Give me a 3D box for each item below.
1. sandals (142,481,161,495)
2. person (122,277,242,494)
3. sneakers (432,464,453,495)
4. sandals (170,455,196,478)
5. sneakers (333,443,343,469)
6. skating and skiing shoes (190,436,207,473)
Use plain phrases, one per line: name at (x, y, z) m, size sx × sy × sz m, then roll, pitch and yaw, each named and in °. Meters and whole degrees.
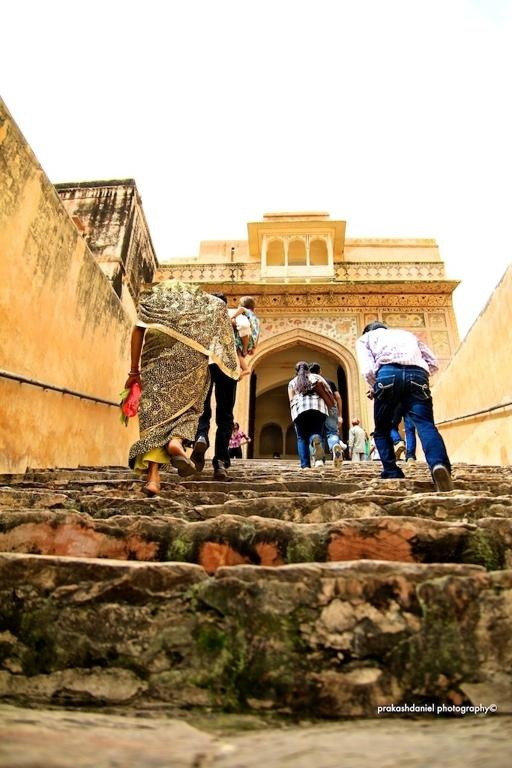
sandals at (-0.468, 0.476, 1.918) m, size 0.038 × 0.041 × 0.099 m, roll 11°, pitch -31°, yaw 8°
person at (-0.445, -0.007, 2.484) m, size 0.670 × 1.486 × 0.432 m, roll 6°, pitch -36°, yaw -7°
sneakers at (0.934, 0.483, 2.117) m, size 0.063 × 0.147 × 0.073 m, roll -33°, pitch -27°, yaw 19°
sandals at (-0.346, 0.410, 2.150) m, size 0.089 × 0.057 × 0.141 m, roll -31°, pitch -58°, yaw 20°
sneakers at (1.122, 0.956, 5.604) m, size 0.155 × 0.336 × 0.157 m, roll 0°, pitch 3°, yaw -13°
skating and skiing shoes at (-0.372, 0.488, 2.913) m, size 0.124 × 0.109 × 0.270 m, roll -3°, pitch -46°, yaw -8°
